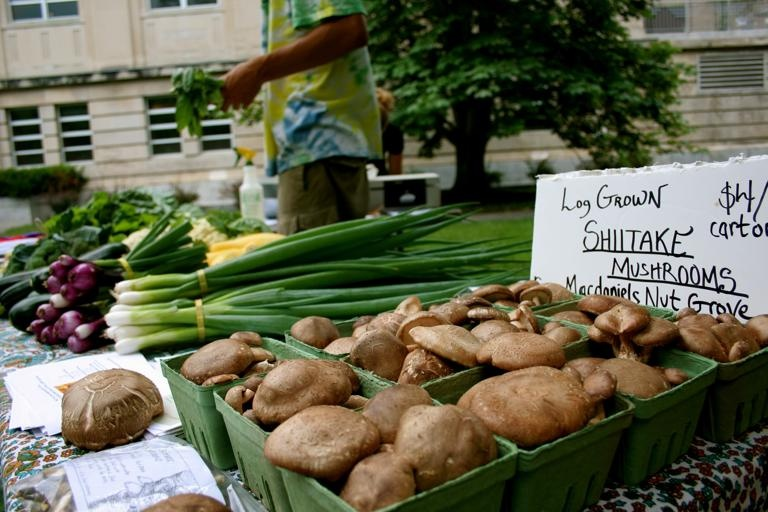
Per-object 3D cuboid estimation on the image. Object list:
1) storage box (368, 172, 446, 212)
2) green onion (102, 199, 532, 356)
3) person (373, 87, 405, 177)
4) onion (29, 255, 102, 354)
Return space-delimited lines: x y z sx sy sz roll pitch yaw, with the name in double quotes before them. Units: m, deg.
"storage box" 0.178 -0.448 6.202 0.565 0.279 0.325 -4 -14 4
"green onion" -0.441 0.121 4.352 2.847 0.682 0.906 -7 18 -15
"person" 0.045 -1.119 7.369 0.325 0.937 0.297 -5 19 -9
"onion" -1.777 0.251 4.336 0.466 0.514 0.281 5 11 35
